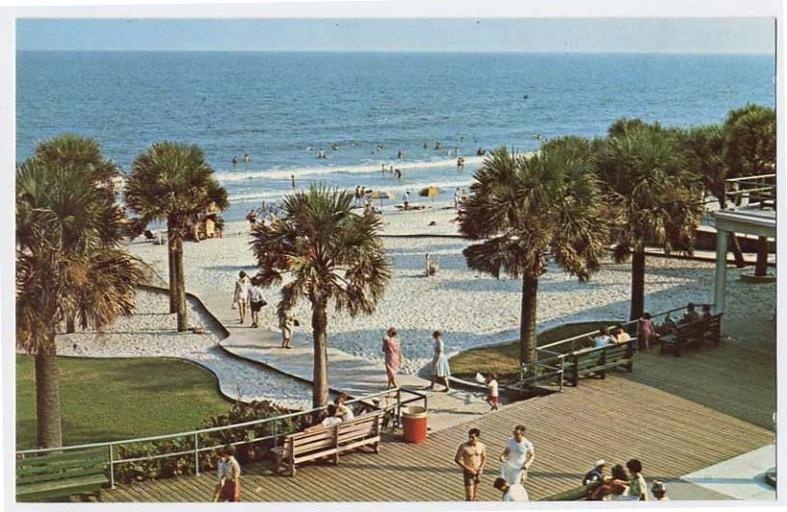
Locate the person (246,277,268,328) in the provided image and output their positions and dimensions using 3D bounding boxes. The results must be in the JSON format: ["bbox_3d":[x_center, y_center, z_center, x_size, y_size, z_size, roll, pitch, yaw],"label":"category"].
[{"bbox_3d":[-5.680,2.004,41.989,0.651,1.679,0.958,-2,5,-8],"label":"person"}]

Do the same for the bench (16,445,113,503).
[{"bbox_3d":[-9.807,6.411,30.195,2.636,1.466,1.409,-3,5,-18],"label":"bench"}]

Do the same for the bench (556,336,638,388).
[{"bbox_3d":[6.785,3.498,34.619,2.889,1.147,0.828,-7,12,-38],"label":"bench"}]

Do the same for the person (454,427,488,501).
[{"bbox_3d":[2.137,5.944,29.640,0.868,2.109,0.717,-3,5,-11],"label":"person"}]

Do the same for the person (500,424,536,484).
[{"bbox_3d":[3.452,5.985,29.423,0.886,2.310,0.782,6,7,5],"label":"person"}]

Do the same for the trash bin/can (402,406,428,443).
[{"bbox_3d":[0.554,5.160,31.973,0.909,1.081,0.970,0,2,8],"label":"trash bin/can"}]

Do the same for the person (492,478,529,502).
[{"bbox_3d":[3.187,6.399,28.638,0.944,0.784,0.830,-2,5,-7],"label":"person"}]

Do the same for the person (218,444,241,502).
[{"bbox_3d":[-4.758,6.130,29.458,0.558,1.757,1.048,-2,5,-10],"label":"person"}]

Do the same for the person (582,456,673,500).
[{"bbox_3d":[6.671,6.352,29.376,0.639,0.794,1.922,-14,-17,-35],"label":"person"}]
